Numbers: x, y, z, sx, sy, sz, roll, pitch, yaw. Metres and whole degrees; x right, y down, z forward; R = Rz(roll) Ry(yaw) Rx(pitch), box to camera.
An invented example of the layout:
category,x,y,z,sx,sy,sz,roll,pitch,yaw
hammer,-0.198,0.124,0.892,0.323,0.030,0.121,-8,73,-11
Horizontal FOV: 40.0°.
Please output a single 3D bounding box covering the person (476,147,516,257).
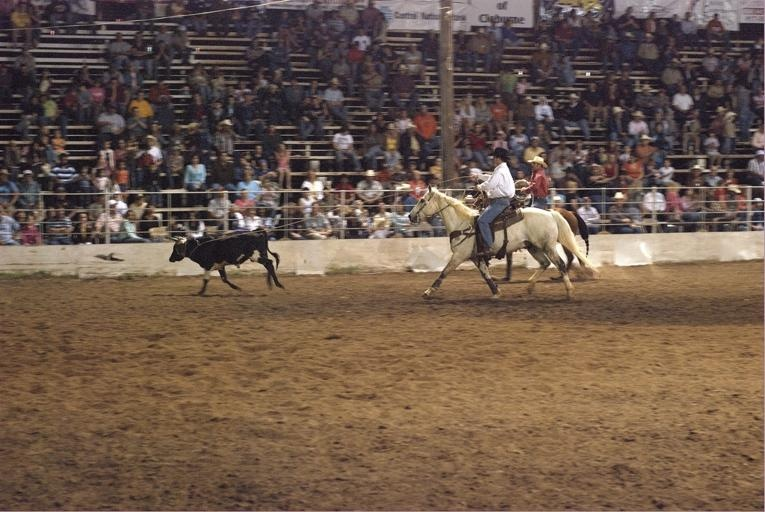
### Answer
category,x,y,z,sx,sy,sz,roll,pitch,yaw
person,2.432,-1.083,21.635,0.753,2.203,0.584,-3,6,-20
